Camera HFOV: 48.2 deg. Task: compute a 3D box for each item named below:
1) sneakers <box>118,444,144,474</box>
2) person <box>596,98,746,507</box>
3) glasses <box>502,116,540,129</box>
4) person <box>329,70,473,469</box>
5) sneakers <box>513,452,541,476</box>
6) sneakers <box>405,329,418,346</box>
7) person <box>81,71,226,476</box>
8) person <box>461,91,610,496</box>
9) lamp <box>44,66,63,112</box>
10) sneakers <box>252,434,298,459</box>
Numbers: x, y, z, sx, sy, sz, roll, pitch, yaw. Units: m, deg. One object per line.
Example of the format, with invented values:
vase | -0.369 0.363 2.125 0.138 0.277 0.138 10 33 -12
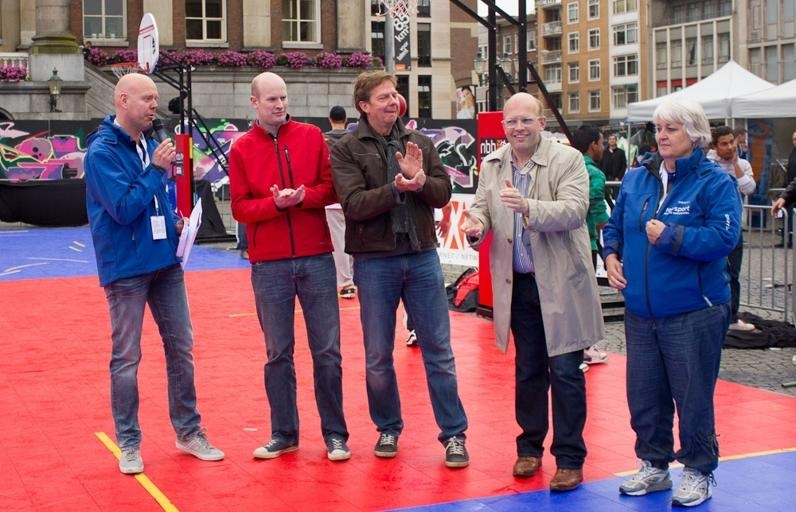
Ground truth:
sneakers | -2.235 1.698 7.393 0.196 0.197 0.205 -4 11 -18
person | 2.129 0.355 6.894 0.957 3.063 0.628 3 11 21
glasses | 1.020 -1.078 7.217 0.277 0.087 0.103 0 11 2
person | -0.022 0.045 7.547 1.059 3.301 1.026 -4 -4 18
sneakers | 1.069 1.746 7.309 0.104 0.124 0.272 -3 -9 27
sneakers | 0.136 1.022 10.821 0.148 0.197 0.413 1 -5 -6
person | -2.128 0.137 7.419 0.822 3.245 0.664 -5 11 -21
person | 1.132 0.251 7.296 1.027 3.086 0.738 6 12 31
lamp | -11.663 -5.519 29.890 0.771 1.517 0.789 0 11 -12
sneakers | -1.056 1.668 7.724 0.408 0.166 0.151 0 -2 -33
